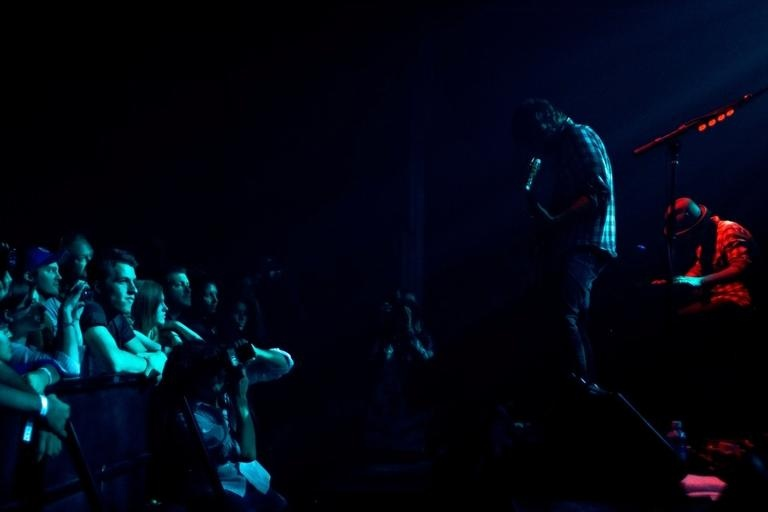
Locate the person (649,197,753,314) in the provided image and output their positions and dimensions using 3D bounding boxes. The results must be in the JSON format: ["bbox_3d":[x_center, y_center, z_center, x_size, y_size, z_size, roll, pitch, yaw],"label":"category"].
[{"bbox_3d":[3.082,0.050,5.999,0.983,1.257,1.024,0,-3,8],"label":"person"}]

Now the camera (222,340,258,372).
[{"bbox_3d":[-1.202,0.828,5.306,0.228,0.203,0.055,-3,2,10],"label":"camera"}]

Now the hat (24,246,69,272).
[{"bbox_3d":[-2.804,0.008,5.302,0.438,0.190,0.260,-5,11,-28],"label":"hat"}]

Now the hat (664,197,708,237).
[{"bbox_3d":[2.611,-0.382,5.670,0.372,0.250,0.512,-2,25,40],"label":"hat"}]

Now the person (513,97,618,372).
[{"bbox_3d":[1.565,-0.052,5.335,0.899,2.515,0.825,2,-5,-38],"label":"person"}]

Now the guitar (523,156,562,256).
[{"bbox_3d":[1.391,-0.503,5.300,0.231,0.812,0.599,1,39,26],"label":"guitar"}]
